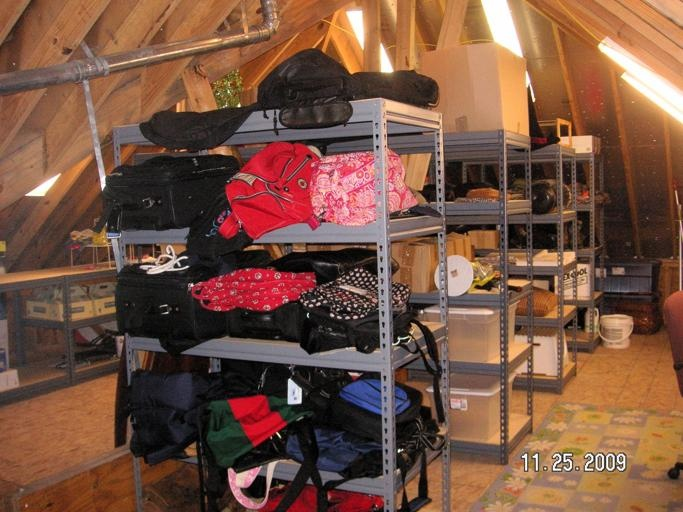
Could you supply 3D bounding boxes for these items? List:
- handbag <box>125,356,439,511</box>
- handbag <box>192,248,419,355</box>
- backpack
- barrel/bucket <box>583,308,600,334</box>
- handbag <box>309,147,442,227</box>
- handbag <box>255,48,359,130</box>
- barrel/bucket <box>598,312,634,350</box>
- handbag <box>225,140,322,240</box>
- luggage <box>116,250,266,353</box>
[{"bbox_3d":[-0.321,0.784,2.673,1.232,0.297,0.816,2,1,7],"label":"handbag"},{"bbox_3d":[-0.122,0.202,2.625,0.646,0.175,0.599,3,9,22],"label":"handbag"},{"bbox_3d":[-0.781,-0.329,2.963,0.951,0.315,0.631,-4,-1,-16],"label":"backpack"},{"bbox_3d":[2.613,0.687,6.004,0.137,0.212,0.343,6,-3,30],"label":"barrel/bucket"},{"bbox_3d":[0.065,-0.309,2.487,0.343,0.151,0.431,-13,21,-26],"label":"handbag"},{"bbox_3d":[-0.159,-0.733,2.493,0.458,0.340,0.169,5,13,4],"label":"handbag"},{"bbox_3d":[3.008,0.844,6.274,0.361,0.281,0.341,0,-1,0],"label":"barrel/bucket"},{"bbox_3d":[-0.301,-0.290,2.540,0.482,0.364,0.177,-25,-15,6],"label":"handbag"},{"bbox_3d":[-0.699,0.147,2.858,0.603,0.350,0.586,5,8,34],"label":"luggage"}]
